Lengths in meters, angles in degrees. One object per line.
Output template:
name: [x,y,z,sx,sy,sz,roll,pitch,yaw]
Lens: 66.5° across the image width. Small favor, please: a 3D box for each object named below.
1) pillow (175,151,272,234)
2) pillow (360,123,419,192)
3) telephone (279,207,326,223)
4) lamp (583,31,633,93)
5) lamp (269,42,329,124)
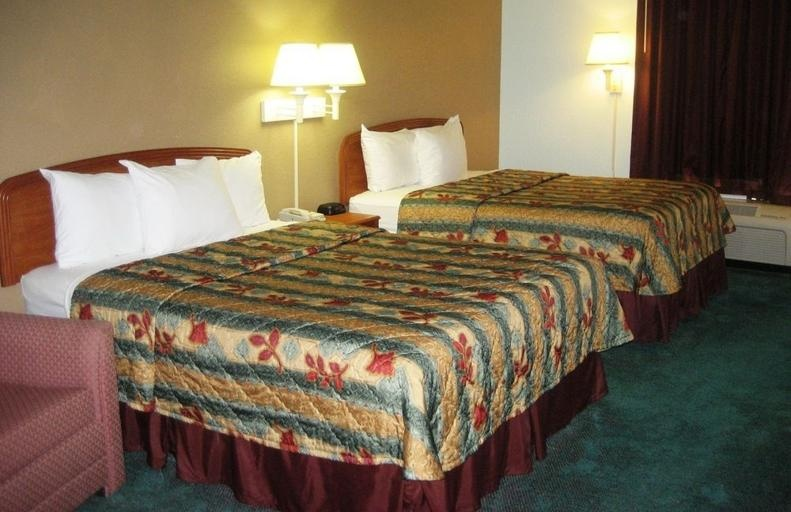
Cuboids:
pillow: [-1.393,-0.542,4.986,0.203,0.678,0.638,-6,7,37]
pillow: [-0.067,-0.978,6.190,0.701,0.583,0.255,-11,-22,-33]
telephone: [-0.846,-0.353,5.369,0.276,0.087,0.195,2,9,23]
lamp: [2.676,-2.399,7.522,0.478,0.755,0.544,5,17,26]
lamp: [-0.898,-1.583,5.453,0.472,0.671,0.707,10,18,39]
